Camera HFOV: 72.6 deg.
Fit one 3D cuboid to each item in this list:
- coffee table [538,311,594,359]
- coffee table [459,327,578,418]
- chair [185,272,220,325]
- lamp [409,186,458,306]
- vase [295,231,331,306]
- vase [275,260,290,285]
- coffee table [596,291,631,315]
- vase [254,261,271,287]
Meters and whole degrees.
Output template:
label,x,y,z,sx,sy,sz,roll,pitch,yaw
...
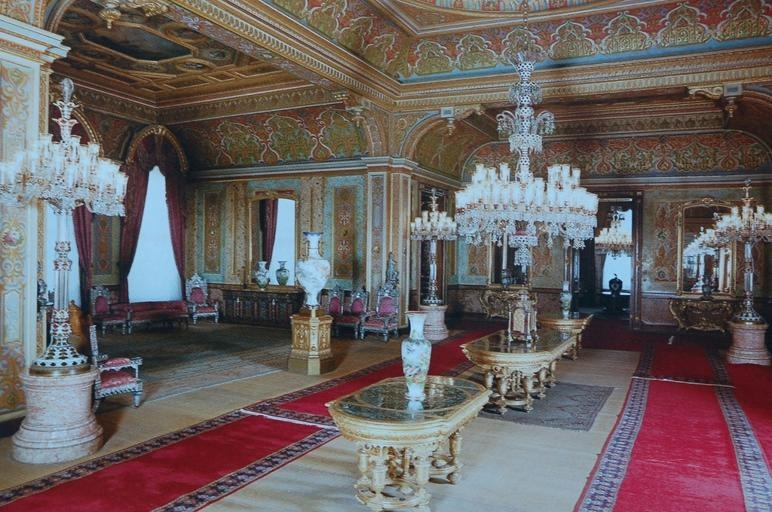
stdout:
label,x,y,z,sx,sy,sz,roll,pitch,yaw
coffee table,3.436,1.310,9.898,0.913,0.548,1.338,2,1,28
coffee table,1.754,1.561,7.167,1.009,0.582,1.883,-1,1,24
chair,-4.800,1.121,13.621,0.841,1.206,0.959,0,-1,-28
lamp,1.062,-0.267,12.221,0.996,2.853,2.386,0,-1,2
vase,-1.179,0.240,8.454,0.527,1.235,0.529,0,-1,-9
vase,-2.585,0.457,13.122,0.297,0.608,0.404,0,-1,-9
coffee table,7.718,1.642,17.846,1.154,0.704,1.331,2,2,34
vase,-3.209,0.481,13.372,0.440,0.649,0.396,0,-1,11
